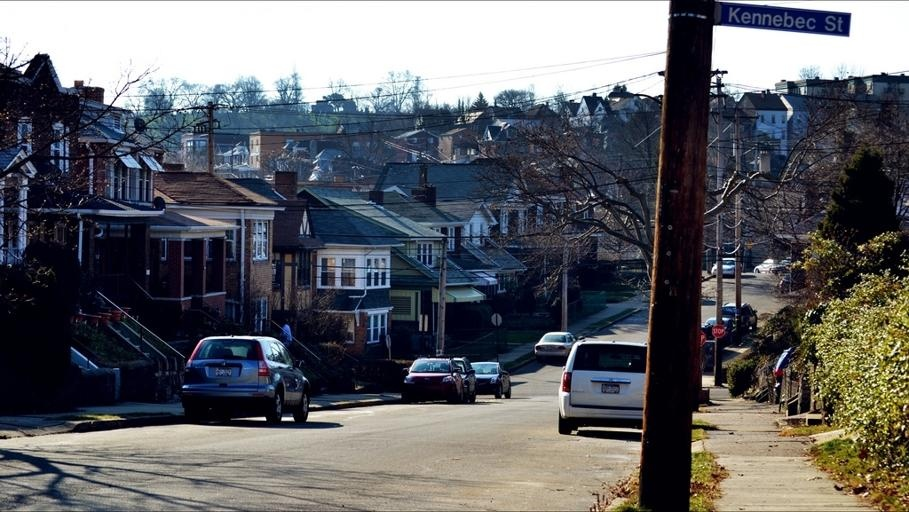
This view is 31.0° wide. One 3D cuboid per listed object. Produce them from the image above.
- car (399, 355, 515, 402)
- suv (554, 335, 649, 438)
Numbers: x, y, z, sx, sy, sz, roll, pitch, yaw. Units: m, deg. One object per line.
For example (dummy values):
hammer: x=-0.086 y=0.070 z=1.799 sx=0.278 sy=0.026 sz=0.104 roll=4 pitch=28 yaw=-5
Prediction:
car: x=0.173 y=5.625 z=75.613 sx=3.108 sy=2.056 sz=9.016 roll=-2 pitch=-1 yaw=16
suv: x=5.378 y=4.467 z=59.119 sx=2.188 sy=1.835 sz=3.758 roll=0 pitch=3 yaw=4
